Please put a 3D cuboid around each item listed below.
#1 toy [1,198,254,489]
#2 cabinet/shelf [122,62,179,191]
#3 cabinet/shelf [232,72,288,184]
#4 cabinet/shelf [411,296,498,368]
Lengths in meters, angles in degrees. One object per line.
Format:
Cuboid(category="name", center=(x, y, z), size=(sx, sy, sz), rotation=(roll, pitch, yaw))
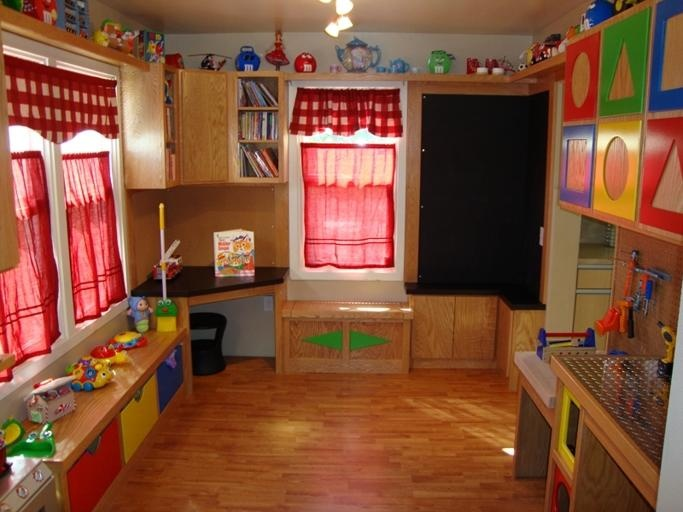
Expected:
Cuboid(category="toy", center=(-1.526, 0.655, 3.808), size=(0.717, 0.717, 1.906), rotation=(0, 15, -3))
Cuboid(category="cabinet/shelf", center=(-1.525, -1.048, 4.338), size=(0.495, 0.979, 0.286), rotation=(-7, 11, -32))
Cuboid(category="cabinet/shelf", center=(-0.721, -1.111, 4.719), size=(0.456, 0.930, 0.281), rotation=(0, 4, -5))
Cuboid(category="cabinet/shelf", center=(1.078, 0.691, 5.065), size=(0.641, 0.597, 0.221), rotation=(0, 3, 0))
